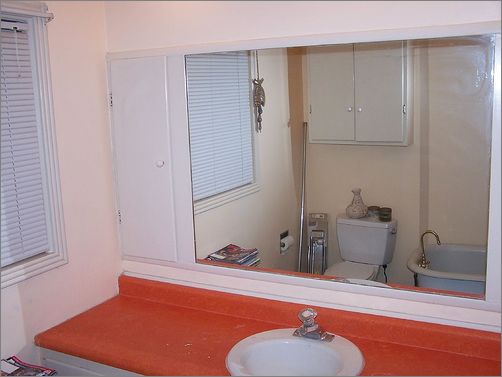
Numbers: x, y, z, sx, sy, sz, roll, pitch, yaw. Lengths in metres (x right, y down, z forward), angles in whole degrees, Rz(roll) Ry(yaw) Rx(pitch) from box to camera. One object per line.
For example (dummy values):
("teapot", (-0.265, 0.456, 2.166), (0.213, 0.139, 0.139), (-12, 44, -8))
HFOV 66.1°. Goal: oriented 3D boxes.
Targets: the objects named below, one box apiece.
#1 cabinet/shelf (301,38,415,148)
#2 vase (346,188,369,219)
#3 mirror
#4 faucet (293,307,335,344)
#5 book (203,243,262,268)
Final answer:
("cabinet/shelf", (0.391, -0.353, 1.546), (0.403, 0.384, 0.133), (-2, 5, -7))
("vase", (0.423, 0.059, 1.552), (0.076, 0.117, 0.090), (-4, 15, -10))
("mirror", (0.380, -0.109, 1.524), (1.219, 0.846, 0.028), (2, 5, 16))
("faucet", (0.238, 0.539, 1.535), (0.161, 0.096, 0.074), (-3, 17, 29))
("book", (-0.077, 0.312, 1.788), (0.131, 0.042, 0.132), (8, 14, 30))
